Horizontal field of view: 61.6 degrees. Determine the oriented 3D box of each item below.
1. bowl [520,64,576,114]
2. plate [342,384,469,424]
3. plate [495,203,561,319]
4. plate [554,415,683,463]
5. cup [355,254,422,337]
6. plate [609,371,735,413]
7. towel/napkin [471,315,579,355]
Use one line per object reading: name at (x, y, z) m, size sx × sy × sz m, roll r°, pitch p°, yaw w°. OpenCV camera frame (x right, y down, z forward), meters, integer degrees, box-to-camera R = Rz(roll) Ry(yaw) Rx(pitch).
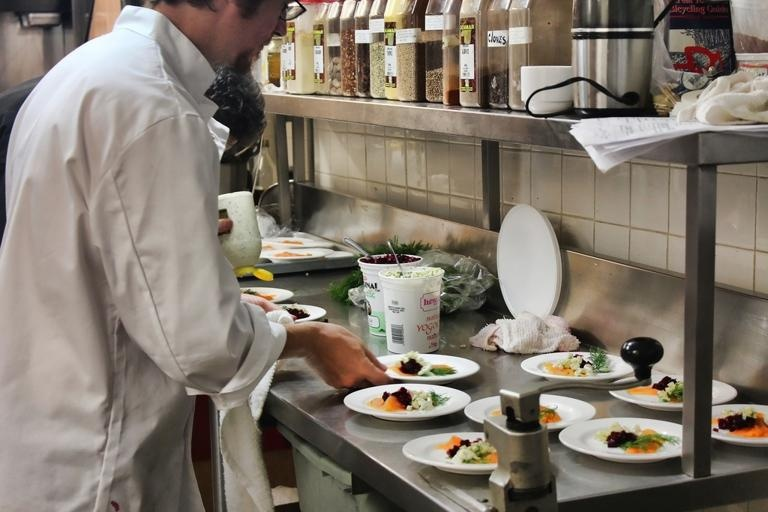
bowl at (0.382, -0.398, 1.515) m, size 0.111 × 0.091 × 0.112 m, roll -2°, pitch 15°, yaw 0°
plate at (0.073, 0.350, 1.537) m, size 0.138 × 0.016 × 0.137 m, roll -6°, pitch 10°, yaw -39°
plate at (0.460, 0.018, 2.033) m, size 0.033 × 0.354 × 0.316 m, roll -1°, pitch -7°, yaw -25°
plate at (0.503, 0.374, 1.352) m, size 0.265 × 0.032 × 0.171 m, roll -5°, pitch 18°, yaw 1°
cup at (0.032, 0.114, 1.997) m, size 0.216 × 0.258 × 0.230 m, roll -1°, pitch 8°, yaw 0°
plate at (0.624, 0.297, 1.388) m, size 0.151 × 0.023 × 0.161 m, roll -3°, pitch 12°, yaw -3°
towel/napkin at (0.402, 0.231, 1.866) m, size 0.158 × 0.058 × 0.159 m, roll -4°, pitch 5°, yaw -34°
